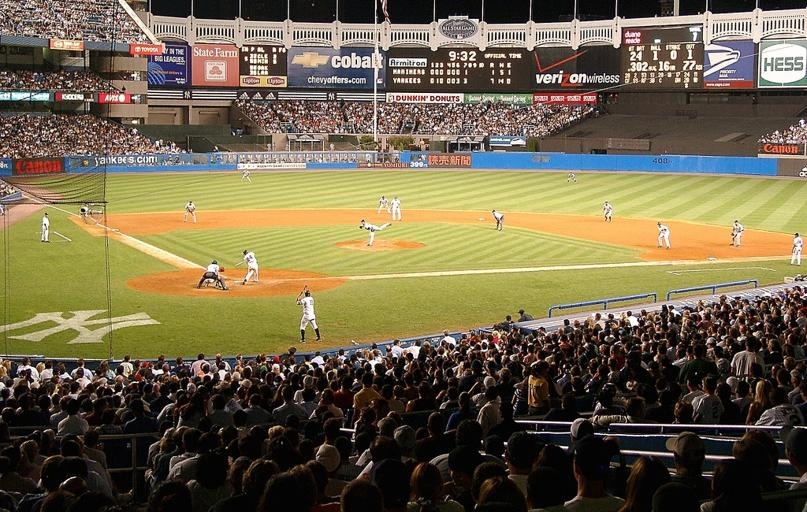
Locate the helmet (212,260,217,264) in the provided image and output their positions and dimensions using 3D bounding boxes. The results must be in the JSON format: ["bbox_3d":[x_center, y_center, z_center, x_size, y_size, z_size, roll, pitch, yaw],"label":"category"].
[{"bbox_3d":[-9.049,0.268,39.115,0.156,0.174,0.118,-2,5,-23],"label":"helmet"}]

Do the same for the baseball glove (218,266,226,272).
[{"bbox_3d":[-8.861,0.625,39.866,0.257,0.113,0.241,4,-11,26],"label":"baseball glove"}]

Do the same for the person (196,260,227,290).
[{"bbox_3d":[-8.749,0.831,37.559,1.164,0.511,1.723,0,17,-11],"label":"person"}]
